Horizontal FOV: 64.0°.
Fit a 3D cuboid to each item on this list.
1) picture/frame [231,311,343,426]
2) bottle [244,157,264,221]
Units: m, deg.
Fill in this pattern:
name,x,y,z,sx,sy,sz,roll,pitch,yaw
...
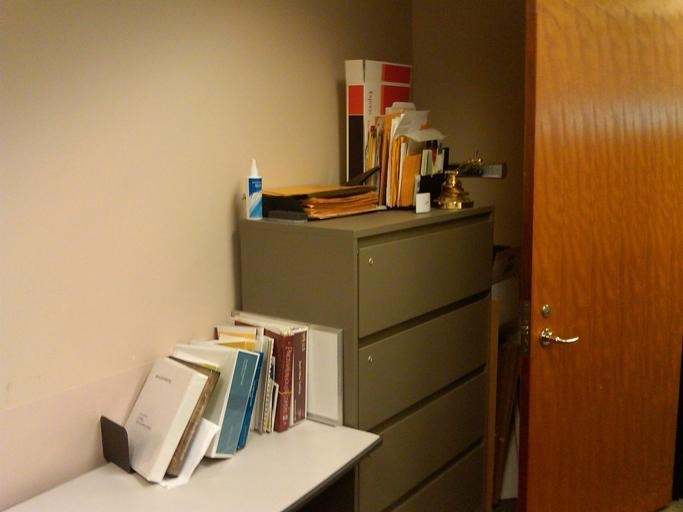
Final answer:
name,x,y,z,sx,sy,sz,roll,pitch,yaw
picture/frame,-0.195,0.354,2.116,0.284,0.553,0.516,-2,4,-37
bottle,-0.342,-0.264,2.139,0.068,0.224,0.198,-4,11,-11
